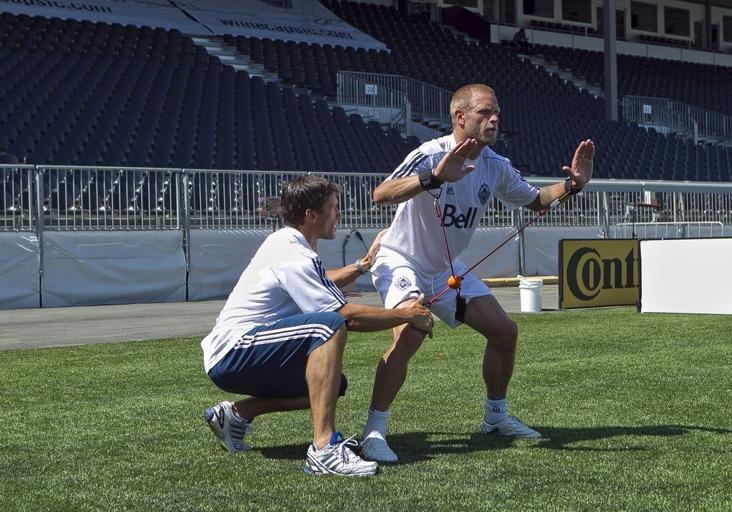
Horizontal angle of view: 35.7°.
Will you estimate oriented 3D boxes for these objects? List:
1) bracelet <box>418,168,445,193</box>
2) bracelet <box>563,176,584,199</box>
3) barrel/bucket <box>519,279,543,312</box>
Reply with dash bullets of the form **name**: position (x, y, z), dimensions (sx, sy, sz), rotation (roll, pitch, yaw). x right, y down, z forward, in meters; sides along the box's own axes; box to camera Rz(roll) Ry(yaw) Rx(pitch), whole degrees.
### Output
- **bracelet**: position (0.846, -0.976, 14.844), dimensions (0.283, 0.155, 0.226), rotation (-9, -37, -7)
- **bracelet**: position (2.820, -0.943, 15.547), dimensions (0.212, 0.305, 0.139), rotation (35, 13, 22)
- **barrel/bucket**: position (3.117, 0.774, 22.070), dimensions (0.563, 0.755, 0.534), rotation (0, -2, 0)
